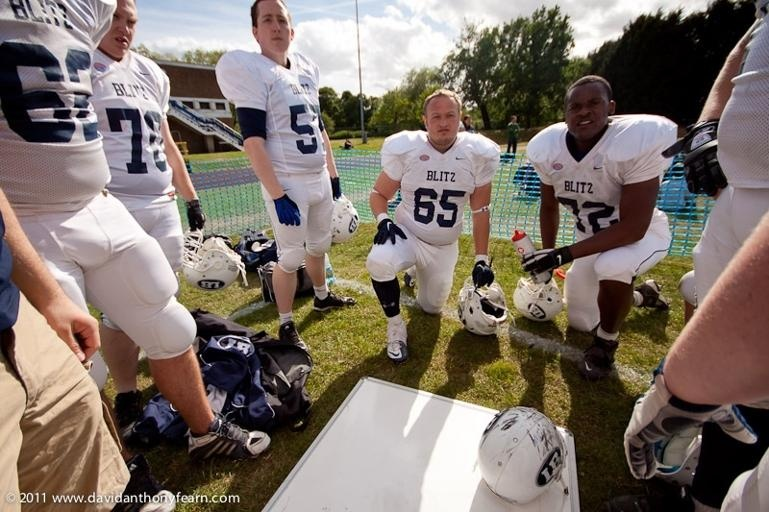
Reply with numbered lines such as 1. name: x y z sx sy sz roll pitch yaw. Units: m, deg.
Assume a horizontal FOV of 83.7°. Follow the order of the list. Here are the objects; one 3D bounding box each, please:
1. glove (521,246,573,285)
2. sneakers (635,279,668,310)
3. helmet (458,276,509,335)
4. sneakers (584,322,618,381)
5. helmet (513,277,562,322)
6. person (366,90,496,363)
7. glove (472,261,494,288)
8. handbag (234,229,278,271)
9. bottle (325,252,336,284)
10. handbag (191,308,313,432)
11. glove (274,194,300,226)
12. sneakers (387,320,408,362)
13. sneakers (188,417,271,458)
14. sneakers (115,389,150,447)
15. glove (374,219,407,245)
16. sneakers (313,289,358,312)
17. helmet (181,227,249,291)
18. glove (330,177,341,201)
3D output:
1. glove: 1.279 0.052 3.329 0.338 0.143 0.254 -29 23 18
2. sneakers: 2.423 0.351 3.865 0.333 0.245 0.118 21 9 -19
3. helmet: 0.829 0.403 3.643 0.335 0.377 0.469 -1 29 -5
4. sneakers: 1.634 0.705 3.203 0.412 0.306 0.184 -22 27 -39
5. helmet: 1.391 0.362 3.700 0.301 0.373 0.399 -6 1 -20
6. person: 0.392 -0.311 3.469 1.134 1.925 0.893 -6 21 -7
7. glove: 0.809 0.145 3.459 0.151 0.222 0.091 16 7 35
8. handbag: -1.537 -0.159 5.123 0.372 0.211 0.471 -23 38 -37
9. bottle: -0.553 0.143 4.390 0.088 0.261 0.185 -2 -16 4
10. handbag: -1.136 0.881 3.443 1.031 0.467 1.292 -6 3 -34
11. glove: -0.732 -0.346 3.271 0.187 0.245 0.128 -11 22 -19
12. sneakers: 0.106 0.665 3.323 0.120 0.163 0.341 0 19 2
13. sneakers: -0.934 1.099 2.724 0.572 0.277 0.210 5 26 -19
14. sneakers: -1.629 1.050 2.756 0.116 0.154 0.355 -5 57 -11
15. glove: 0.053 -0.209 3.497 0.260 0.168 0.253 -3 21 1
16. sneakers: -0.478 0.437 4.101 0.433 0.199 0.162 -4 17 -14
17. helmet: -1.642 0.025 4.261 0.596 0.509 0.494 1 10 -13
18. glove: -0.457 -0.648 4.083 0.059 0.177 0.122 -8 17 -42
